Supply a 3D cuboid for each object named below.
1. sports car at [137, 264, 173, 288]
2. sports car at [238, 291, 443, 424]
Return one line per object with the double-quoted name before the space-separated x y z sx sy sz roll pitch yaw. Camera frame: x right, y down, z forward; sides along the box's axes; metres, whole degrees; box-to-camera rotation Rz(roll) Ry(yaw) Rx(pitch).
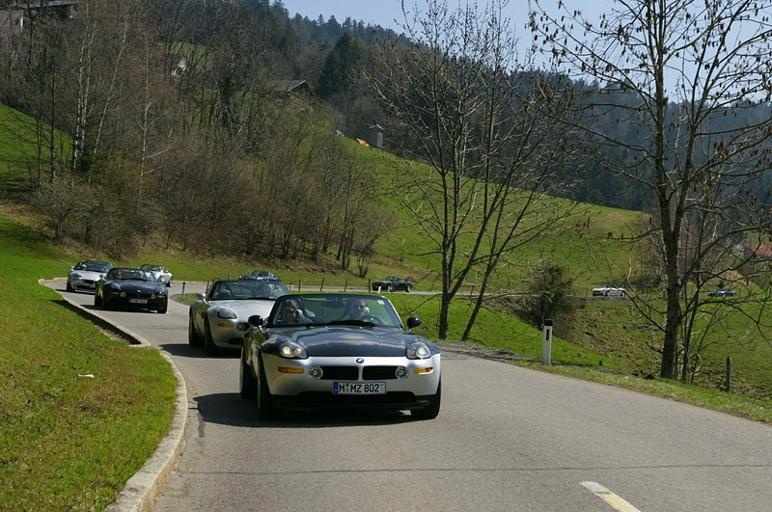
"sports car" -13.244 1.065 47.458 1.149 1.009 2.722 5 -11 3
"sports car" -0.912 2.065 16.949 4.083 2.438 2.121 3 3 3
